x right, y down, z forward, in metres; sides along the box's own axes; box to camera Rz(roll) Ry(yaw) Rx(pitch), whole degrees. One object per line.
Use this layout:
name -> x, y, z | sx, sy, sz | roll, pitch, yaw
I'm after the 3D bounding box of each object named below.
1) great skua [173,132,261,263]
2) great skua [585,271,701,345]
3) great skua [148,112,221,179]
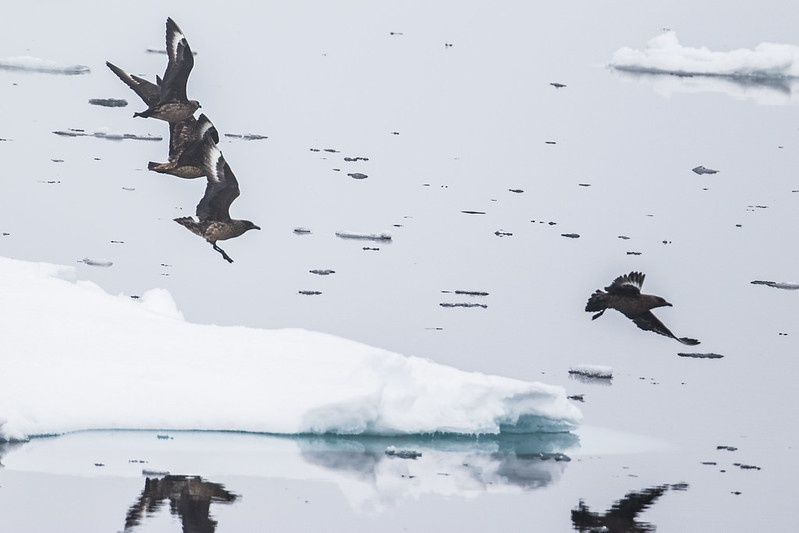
great skua -> -4.025, -1.074, 40.226 | 2.167, 3.127, 2.145 | 2, 68, 2
great skua -> 4.590, 0.774, 39.652 | 2.036, 0.462, 2.909 | 6, 24, -21
great skua -> -4.571, -2.227, 40.005 | 1.522, 2.328, 1.007 | 10, 71, -1
